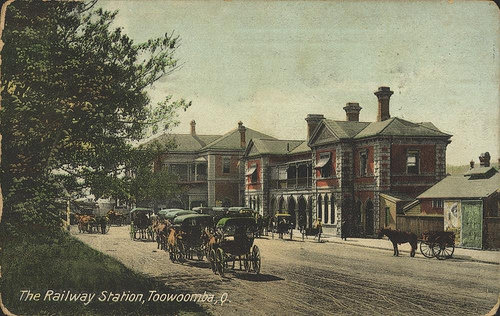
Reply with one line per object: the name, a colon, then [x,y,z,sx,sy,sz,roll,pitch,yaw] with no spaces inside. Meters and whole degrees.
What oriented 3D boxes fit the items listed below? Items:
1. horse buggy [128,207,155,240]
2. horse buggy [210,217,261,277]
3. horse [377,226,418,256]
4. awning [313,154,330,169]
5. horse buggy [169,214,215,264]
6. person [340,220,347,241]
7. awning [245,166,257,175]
horse buggy: [-8.730,5.282,64.948,1.764,2.937,3.901,0,5,-6]
horse buggy: [-0.813,5.002,47.827,2.397,3.247,3.633,1,-1,-14]
horse: [10.105,5.647,54.255,2.419,1.866,2.105,2,6,17]
awning: [6.682,0.251,73.641,0.961,1.544,2.441,8,-9,-16]
horse buggy: [-3.560,4.989,50.664,2.289,3.313,2.286,4,-6,-33]
person: [7.454,5.731,64.051,0.442,1.616,1.386,1,6,7]
awning: [0.157,1.364,89.173,0.848,1.005,1.047,0,-3,-28]
